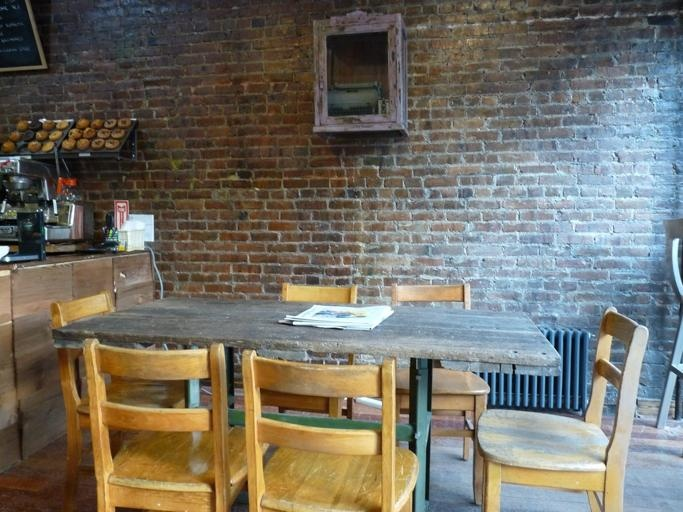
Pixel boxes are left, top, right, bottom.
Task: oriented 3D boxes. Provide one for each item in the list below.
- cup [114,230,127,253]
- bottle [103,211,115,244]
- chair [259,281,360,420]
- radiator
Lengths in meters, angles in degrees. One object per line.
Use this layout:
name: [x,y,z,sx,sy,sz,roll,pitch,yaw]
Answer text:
cup: [-1.685,-0.114,4.867,0.074,0.159,0.133,-2,9,-14]
bottle: [-1.736,-0.199,4.769,0.089,0.235,0.212,-3,9,-19]
chair: [-0.157,0.663,4.066,0.546,0.899,0.525,5,41,14]
radiator: [1.466,0.891,4.434,0.722,0.783,0.201,-1,3,12]
